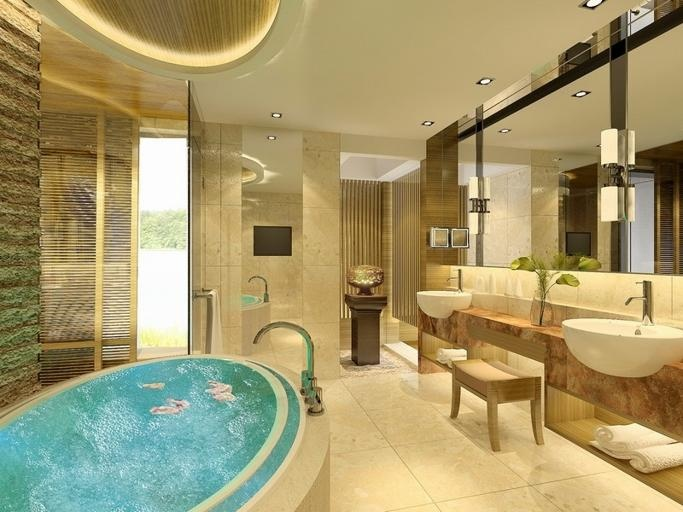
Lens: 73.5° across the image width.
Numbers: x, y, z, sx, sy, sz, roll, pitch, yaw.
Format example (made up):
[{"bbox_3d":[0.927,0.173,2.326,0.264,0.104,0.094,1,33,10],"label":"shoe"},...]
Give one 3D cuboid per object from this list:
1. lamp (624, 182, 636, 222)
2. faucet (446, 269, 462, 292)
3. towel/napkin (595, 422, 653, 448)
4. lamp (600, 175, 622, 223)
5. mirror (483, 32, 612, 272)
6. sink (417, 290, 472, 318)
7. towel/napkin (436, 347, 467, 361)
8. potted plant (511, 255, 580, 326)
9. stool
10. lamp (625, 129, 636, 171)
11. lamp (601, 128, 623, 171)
[{"bbox_3d":[2.059,-0.369,3.246,0.068,0.266,0.048,4,10,27],"label":"lamp"},{"bbox_3d":[1.271,0.253,5.082,0.170,0.265,0.401,1,8,13],"label":"faucet"},{"bbox_3d":[2.012,1.256,3.250,0.243,0.074,0.235,-1,-1,-23],"label":"towel/napkin"},{"bbox_3d":[1.941,-0.382,3.353,0.182,0.270,0.166,-3,27,30],"label":"lamp"},{"bbox_3d":[1.747,-0.888,3.796,0.189,1.671,1.808,1,-1,-14],"label":"mirror"},{"bbox_3d":[1.024,0.515,4.662,0.546,0.291,0.309,2,9,20],"label":"sink"},{"bbox_3d":[1.179,1.046,4.861,0.258,0.091,0.251,0,-3,-2],"label":"towel/napkin"},{"bbox_3d":[1.758,0.296,3.895,0.605,0.483,0.506,2,-4,-13],"label":"potted plant"},{"bbox_3d":[1.323,1.209,3.866,0.569,0.573,0.637,-3,8,-17],"label":"stool"},{"bbox_3d":[2.067,-0.762,3.252,0.059,0.251,0.062,3,9,21],"label":"lamp"},{"bbox_3d":[1.936,-0.774,3.271,0.134,0.263,0.077,4,10,26],"label":"lamp"}]
